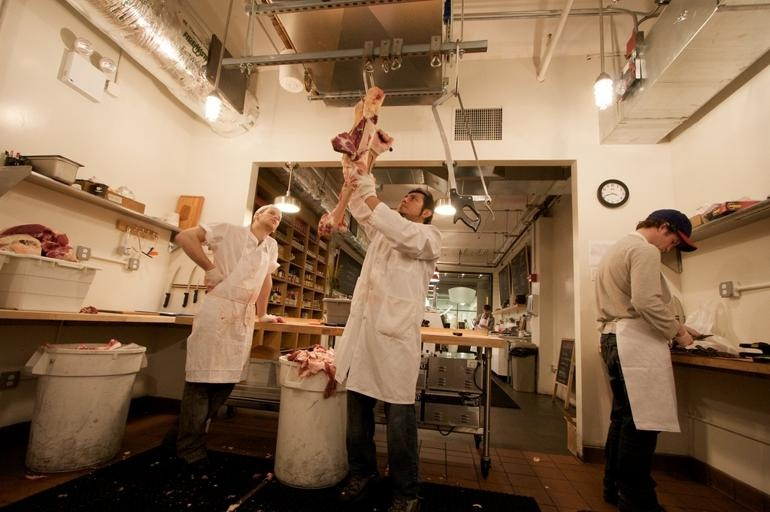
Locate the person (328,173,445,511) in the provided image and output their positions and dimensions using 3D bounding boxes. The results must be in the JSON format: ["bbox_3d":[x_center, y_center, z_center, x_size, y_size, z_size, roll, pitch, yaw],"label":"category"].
[{"bbox_3d":[-0.005,0.643,3.642,0.750,2.582,0.484,4,0,6],"label":"person"}]

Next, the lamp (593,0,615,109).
[{"bbox_3d":[2.297,-2.136,4.787,0.211,1.125,0.843,4,0,25],"label":"lamp"}]

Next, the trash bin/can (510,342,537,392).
[{"bbox_3d":[2.635,2.097,8.783,0.543,0.918,0.389,4,0,23],"label":"trash bin/can"}]

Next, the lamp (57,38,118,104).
[{"bbox_3d":[-2.959,-1.823,4.546,0.194,0.592,0.643,-4,-15,12],"label":"lamp"}]

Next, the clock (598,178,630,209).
[{"bbox_3d":[2.435,-0.657,4.938,0.308,0.306,0.067,4,0,0],"label":"clock"}]

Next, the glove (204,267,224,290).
[{"bbox_3d":[-1.515,0.204,4.042,0.167,0.196,0.081,4,0,17],"label":"glove"}]

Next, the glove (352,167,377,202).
[{"bbox_3d":[-0.165,-0.537,3.608,0.186,0.252,0.193,4,0,-2],"label":"glove"}]
